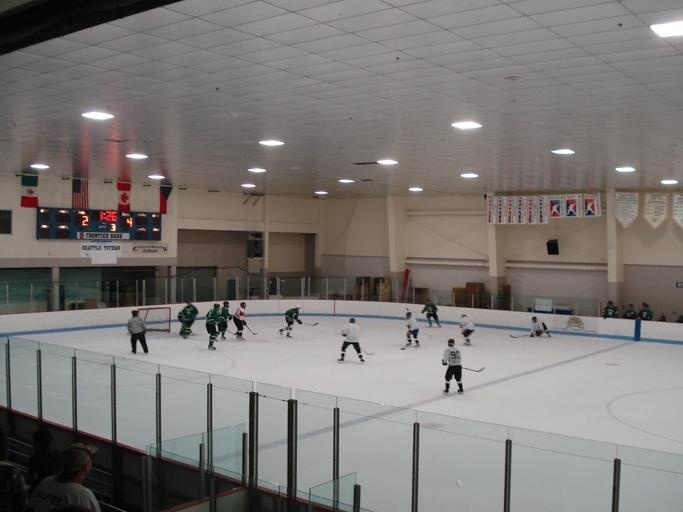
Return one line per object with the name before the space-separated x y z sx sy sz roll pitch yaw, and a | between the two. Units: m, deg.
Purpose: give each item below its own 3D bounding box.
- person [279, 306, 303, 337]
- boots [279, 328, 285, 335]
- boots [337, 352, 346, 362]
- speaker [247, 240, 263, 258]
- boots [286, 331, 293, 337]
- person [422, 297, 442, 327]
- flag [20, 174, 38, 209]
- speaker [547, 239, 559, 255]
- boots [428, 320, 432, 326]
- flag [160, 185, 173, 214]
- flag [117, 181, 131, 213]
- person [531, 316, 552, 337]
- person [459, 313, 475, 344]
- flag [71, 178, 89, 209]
person | -1.793 2.324 20.870 0.757 1.064 0.411 9 31 -4
boots | -1.972 2.500 19.723 0.251 0.142 0.239 -2 4 -16
boots | -0.012 2.636 15.515 0.265 0.250 0.138 0 -2 32
speaker | -4.004 -0.284 27.616 0.737 1.002 0.776 0 -3 -13
boots | -1.687 2.553 19.244 0.180 0.178 0.098 0 5 -11
person | 3.418 2.203 22.967 0.701 0.916 1.656 2 1 8
flag | -10.436 -2.120 20.008 0.611 1.109 0.282 1 2 -40
speaker | 8.431 -0.315 23.954 0.460 0.647 0.566 3 2 27
boots | 3.335 2.618 22.683 0.118 0.213 0.234 -2 -11 13
flag | -6.933 -2.187 23.595 0.244 1.091 0.509 4 3 44
flag | -8.091 -2.160 22.309 0.306 1.067 0.714 3 2 27
person | 6.719 2.415 20.392 0.847 0.703 0.433 2 2 -22
person | 4.093 2.416 19.623 0.461 0.917 0.534 -28 37 -25
flag | -9.270 -2.163 21.222 0.176 1.055 0.613 4 2 36
